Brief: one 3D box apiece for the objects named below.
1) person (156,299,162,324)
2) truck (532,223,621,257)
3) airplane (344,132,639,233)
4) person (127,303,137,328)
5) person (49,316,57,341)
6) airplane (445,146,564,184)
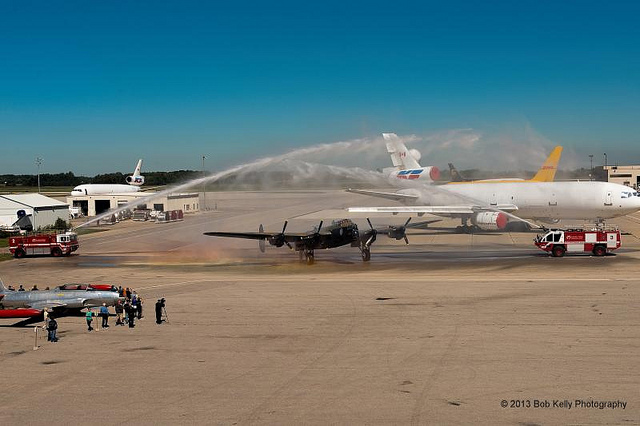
[{"bbox_3d":[-10.481,6.485,49.160,0.377,1.135,0.470,-4,2,-10],"label":"person"},{"bbox_3d":[23.974,2.807,70.497,9.021,2.254,2.654,0,-2,3],"label":"truck"},{"bbox_3d":[21.989,-1.602,90.688,24.373,5.214,22.459,0,5,34],"label":"airplane"},{"bbox_3d":[-12.221,6.662,49.148,0.483,1.241,0.796,-4,2,-10],"label":"person"},{"bbox_3d":[-16.468,7.196,46.660,0.402,1.218,0.729,-5,2,-20],"label":"person"},{"bbox_3d":[22.926,-4.428,90.045,14.229,3.356,10.108,-1,10,15],"label":"airplane"}]
